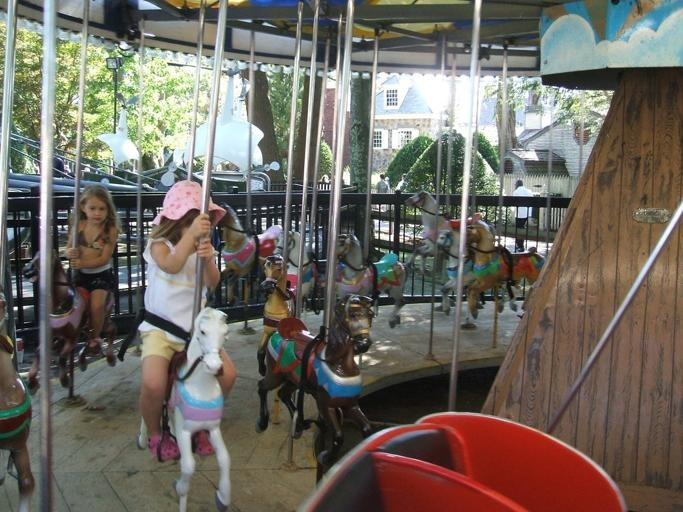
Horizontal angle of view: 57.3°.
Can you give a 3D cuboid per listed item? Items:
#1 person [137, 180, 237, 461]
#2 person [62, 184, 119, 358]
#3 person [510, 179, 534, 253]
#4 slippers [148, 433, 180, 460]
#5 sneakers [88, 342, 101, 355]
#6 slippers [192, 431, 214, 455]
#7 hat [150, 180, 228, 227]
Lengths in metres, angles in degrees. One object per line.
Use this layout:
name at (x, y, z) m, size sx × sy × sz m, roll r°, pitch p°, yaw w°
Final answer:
person at (-1.053, 0.493, 4.189) m, size 0.583 × 1.982 × 0.617 m, roll 1°, pitch 7°, yaw -19°
person at (-2.294, 0.101, 5.737) m, size 0.335 × 1.488 × 0.409 m, roll 3°, pitch 6°, yaw -2°
person at (5.102, -1.223, 17.723) m, size 0.483 × 1.857 × 0.500 m, roll 3°, pitch 11°, yaw 17°
slippers at (-1.175, 1.246, 4.118) m, size 0.216 × 0.198 × 0.134 m, roll 2°, pitch 7°, yaw -6°
sneakers at (-2.229, 0.818, 5.625) m, size 0.072 × 0.130 × 0.124 m, roll 2°, pitch -14°, yaw -10°
slippers at (-0.926, 1.236, 4.222) m, size 0.153 × 0.233 × 0.226 m, roll 1°, pitch -15°, yaw -13°
hat at (-1.028, -0.346, 4.296) m, size 0.356 × 0.212 × 0.348 m, roll 6°, pitch -9°, yaw -23°
